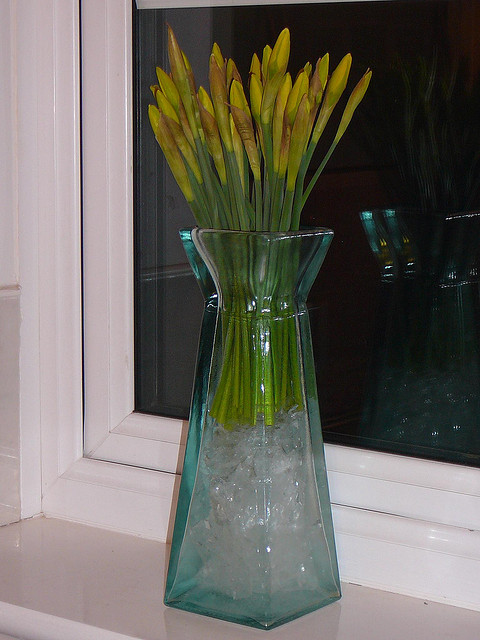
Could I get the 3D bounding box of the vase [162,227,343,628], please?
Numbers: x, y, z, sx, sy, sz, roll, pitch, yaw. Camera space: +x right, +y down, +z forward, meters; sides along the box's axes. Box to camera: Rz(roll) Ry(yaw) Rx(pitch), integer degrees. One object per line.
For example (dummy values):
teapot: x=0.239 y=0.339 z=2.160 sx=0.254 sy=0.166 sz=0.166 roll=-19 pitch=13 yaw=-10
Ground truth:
vase: x=0.024 y=0.105 z=0.496 sx=0.173 sy=0.285 sz=0.119 roll=3 pitch=1 yaw=-12

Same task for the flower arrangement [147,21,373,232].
flower arrangement: x=0.029 y=-0.147 z=0.462 sx=0.091 sy=0.167 sz=0.099 roll=0 pitch=17 yaw=19
